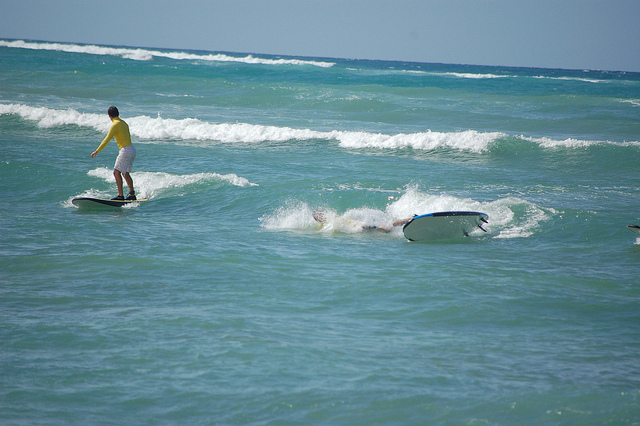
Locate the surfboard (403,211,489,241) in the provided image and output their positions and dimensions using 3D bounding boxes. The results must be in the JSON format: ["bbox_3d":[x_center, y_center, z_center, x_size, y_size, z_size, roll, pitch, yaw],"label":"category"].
[{"bbox_3d":[3.546,0.369,29.058,2.630,0.763,0.515,-5,36,-10],"label":"surfboard"}]

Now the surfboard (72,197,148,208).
[{"bbox_3d":[-6.332,-0.308,30.456,2.159,0.362,0.214,4,38,-18],"label":"surfboard"}]

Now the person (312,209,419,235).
[{"bbox_3d":[1.026,0.321,29.685,2.470,0.538,0.806,4,14,9],"label":"person"}]
